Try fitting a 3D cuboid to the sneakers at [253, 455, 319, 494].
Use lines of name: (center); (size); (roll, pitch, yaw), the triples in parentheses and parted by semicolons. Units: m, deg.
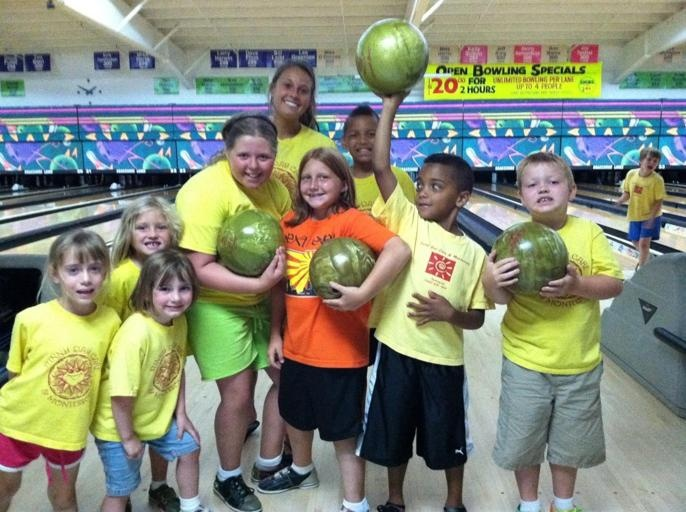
sneakers: (-0.218, 0.862, 1.857); (0.264, 0.118, 0.100); (2, 1, -9)
